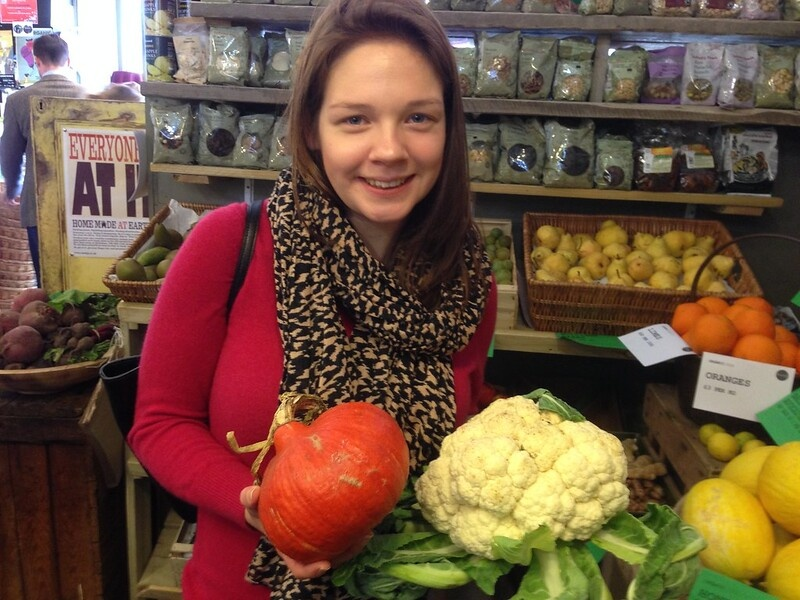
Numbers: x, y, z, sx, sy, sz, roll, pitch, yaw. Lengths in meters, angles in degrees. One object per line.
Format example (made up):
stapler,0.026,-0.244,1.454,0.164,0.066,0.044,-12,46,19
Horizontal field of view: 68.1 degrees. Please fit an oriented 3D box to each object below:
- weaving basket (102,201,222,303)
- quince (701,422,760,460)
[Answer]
weaving basket,-1.048,-0.153,2.744,0.410,0.123,0.626,-2,40,13
quince,0.973,0.415,1.752,0.086,0.060,0.142,-5,6,-26
